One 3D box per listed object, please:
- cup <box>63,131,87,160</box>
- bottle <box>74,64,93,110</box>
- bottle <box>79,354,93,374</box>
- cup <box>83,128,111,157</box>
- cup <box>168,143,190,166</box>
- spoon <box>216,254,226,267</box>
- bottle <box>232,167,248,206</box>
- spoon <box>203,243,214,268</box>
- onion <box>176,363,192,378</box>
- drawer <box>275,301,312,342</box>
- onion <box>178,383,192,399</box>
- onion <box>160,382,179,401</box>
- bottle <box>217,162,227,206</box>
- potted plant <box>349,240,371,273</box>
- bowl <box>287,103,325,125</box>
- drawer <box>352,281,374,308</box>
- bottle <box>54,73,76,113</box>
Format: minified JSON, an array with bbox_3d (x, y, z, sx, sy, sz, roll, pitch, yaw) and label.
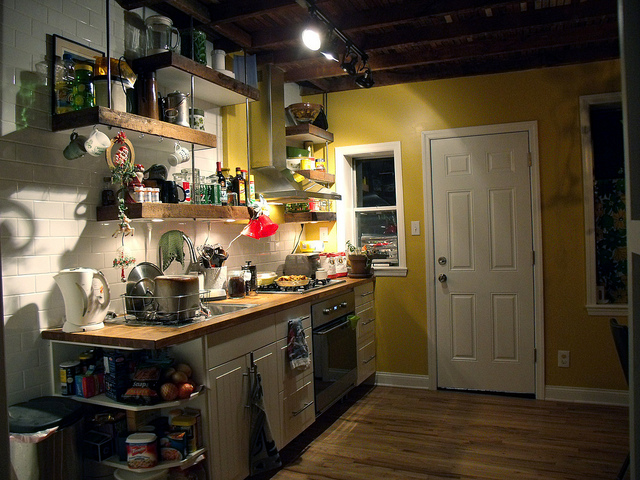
[{"bbox_3d":[-1.400,-0.533,2.952,0.120,0.173,0.107,-14,1,7],"label":"cup"},{"bbox_3d":[-1.333,-0.865,2.840,0.105,0.243,0.056,-6,10,-26],"label":"bottle"},{"bbox_3d":[-1.318,0.697,2.836,0.080,0.137,0.085,-1,-6,0],"label":"bottle"},{"bbox_3d":[-1.265,-0.533,2.871,0.108,0.164,0.098,-12,-43,-11],"label":"cup"},{"bbox_3d":[-0.935,-0.570,3.338,0.130,0.145,0.246,-4,11,-13],"label":"cup"},{"bbox_3d":[-0.730,0.157,3.709,0.064,0.079,0.082,-1,8,-16],"label":"spoon"},{"bbox_3d":[-0.606,-0.405,3.840,0.087,0.285,0.156,0,10,9],"label":"bottle"},{"bbox_3d":[-0.821,0.104,3.691,0.061,0.150,0.036,5,-36,-22],"label":"spoon"},{"bbox_3d":[-0.769,0.729,2.857,0.071,0.072,0.088,-5,-39,-3],"label":"onion"},{"bbox_3d":[-0.212,0.580,3.604,0.157,0.184,0.350,-17,-9,29],"label":"drawer"},{"bbox_3d":[-0.741,0.828,2.764,0.065,0.067,0.067,-4,-2,3],"label":"onion"},{"bbox_3d":[-0.820,0.825,2.744,0.099,0.085,0.050,-5,10,-19],"label":"onion"},{"bbox_3d":[-0.720,-0.417,3.701,0.058,0.304,0.240,-3,10,-11],"label":"bottle"},{"bbox_3d":[0.392,0.214,4.971,0.207,0.215,0.235,-1,18,25],"label":"potted plant"},{"bbox_3d":[-0.159,-1.217,4.854,0.276,0.135,0.286,-1,1,0],"label":"bowl"},{"bbox_3d":[0.409,0.510,4.816,0.162,0.134,0.263,-4,-1,26],"label":"drawer"},{"bbox_3d":[-1.474,-0.854,2.898,0.109,0.208,0.121,-5,20,-15],"label":"bottle"}]
